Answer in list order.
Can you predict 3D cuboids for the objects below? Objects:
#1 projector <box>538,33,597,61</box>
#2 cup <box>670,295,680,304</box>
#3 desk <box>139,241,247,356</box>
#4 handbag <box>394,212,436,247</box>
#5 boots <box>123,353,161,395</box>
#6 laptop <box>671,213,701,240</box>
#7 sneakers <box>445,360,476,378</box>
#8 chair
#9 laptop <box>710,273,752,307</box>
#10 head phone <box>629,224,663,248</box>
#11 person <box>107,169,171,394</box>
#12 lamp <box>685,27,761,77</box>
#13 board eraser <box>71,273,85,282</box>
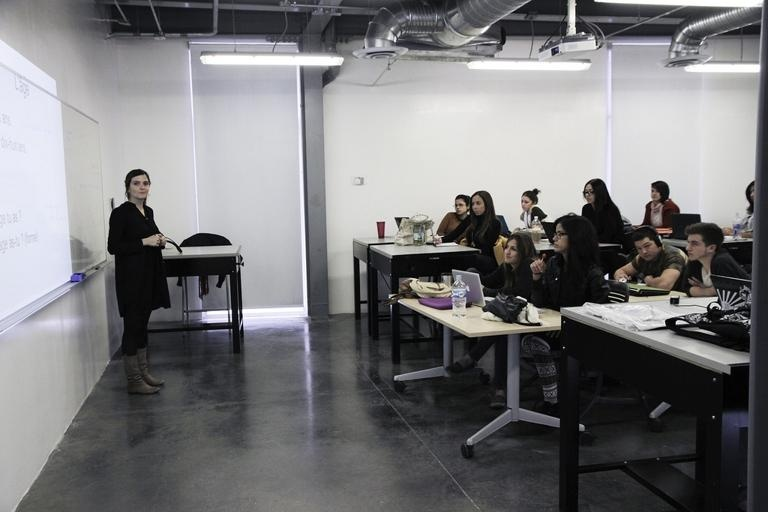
[{"bbox_3d":[2.085,-2.386,6.376,0.424,0.220,0.691,-4,12,-10],"label":"projector"},{"bbox_3d":[1.796,0.266,3.496,0.056,0.051,0.055,0,6,0],"label":"cup"},{"bbox_3d":[-2.174,0.506,7.003,1.242,1.087,1.056,1,0,3],"label":"desk"},{"bbox_3d":[0.437,-0.318,7.381,0.536,0.525,0.313,2,0,9],"label":"handbag"},{"bbox_3d":[-2.367,1.159,5.549,0.339,0.381,0.156,-3,5,4],"label":"boots"},{"bbox_3d":[3.532,-0.342,6.616,0.372,0.353,0.291,4,-5,31],"label":"laptop"},{"bbox_3d":[0.716,1.108,5.541,0.148,0.152,0.426,-1,1,-24],"label":"sneakers"},{"bbox_3d":[-2.268,0.401,7.255,0.761,1.226,0.756,-2,2,-6],"label":"chair"},{"bbox_3d":[1.920,0.187,3.122,0.209,0.147,0.184,-4,20,41],"label":"laptop"},{"bbox_3d":[2.736,-0.204,5.897,0.359,0.296,0.146,-3,2,41],"label":"head phone"},{"bbox_3d":[-2.368,0.247,5.550,0.515,2.151,0.588,-4,12,-12],"label":"person"},{"bbox_3d":[4.972,-2.990,8.204,0.962,0.656,2.539,4,13,28],"label":"lamp"},{"bbox_3d":[-2.789,0.192,5.132,0.076,0.043,0.136,-3,6,-11],"label":"board eraser"}]
